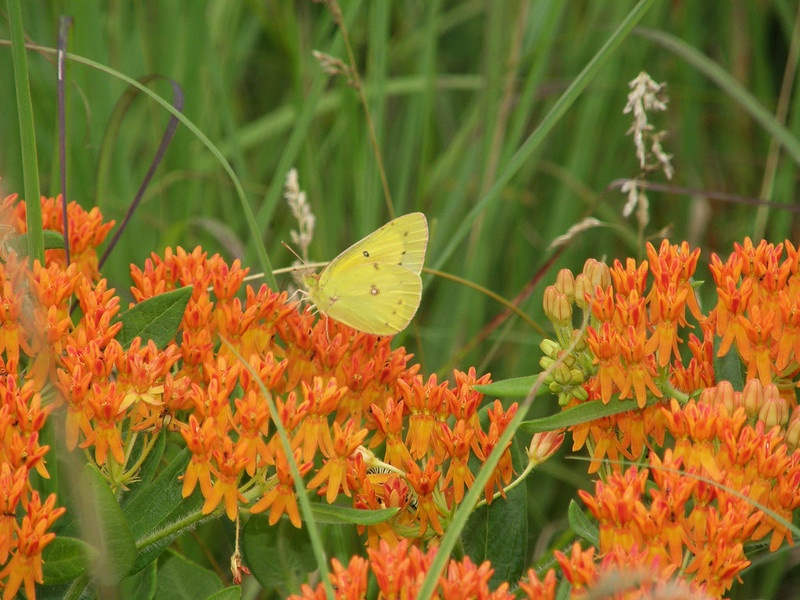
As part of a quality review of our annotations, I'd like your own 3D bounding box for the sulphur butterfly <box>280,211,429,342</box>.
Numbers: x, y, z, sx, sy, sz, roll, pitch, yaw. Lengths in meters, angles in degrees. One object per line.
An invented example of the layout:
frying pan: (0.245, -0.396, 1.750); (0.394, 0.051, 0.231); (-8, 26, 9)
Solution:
sulphur butterfly: (-0.128, -0.025, 3.482); (0.356, 0.418, 0.426); (11, -5, -7)
